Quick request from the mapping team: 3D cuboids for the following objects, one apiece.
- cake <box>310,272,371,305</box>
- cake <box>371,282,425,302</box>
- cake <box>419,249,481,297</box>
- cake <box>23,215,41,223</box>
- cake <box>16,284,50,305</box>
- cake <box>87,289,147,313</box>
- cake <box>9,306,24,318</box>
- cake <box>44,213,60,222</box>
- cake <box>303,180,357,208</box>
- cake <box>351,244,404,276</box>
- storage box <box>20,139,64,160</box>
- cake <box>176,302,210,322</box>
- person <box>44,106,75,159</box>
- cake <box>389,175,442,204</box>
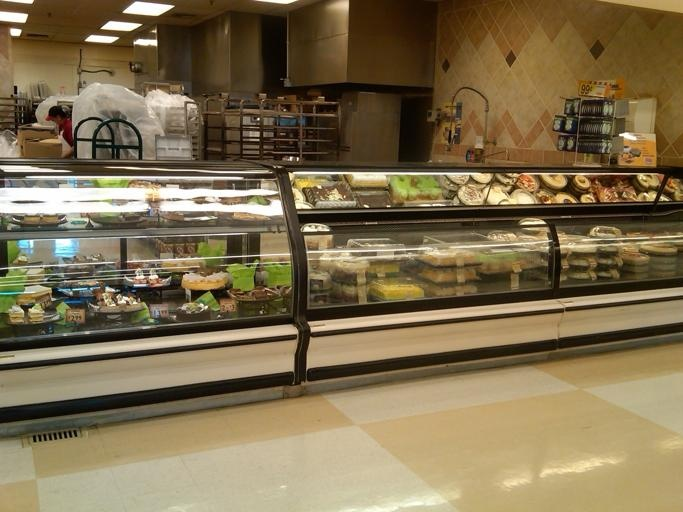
[{"bbox_3d":[0.004,0.196,3.268,0.474,0.233,0.112,-7,11,-25],"label":"cake"},{"bbox_3d":[0.395,0.232,3.413,0.400,0.125,0.125,-5,11,-14],"label":"cake"},{"bbox_3d":[0.808,0.111,3.574,0.440,0.124,0.333,-1,36,-1],"label":"cake"},{"bbox_3d":[-1.758,-0.210,2.795,0.065,0.031,0.057,1,7,-3],"label":"cake"},{"bbox_3d":[-1.751,0.214,2.784,0.161,0.058,0.191,-1,1,-34],"label":"cake"},{"bbox_3d":[-1.350,0.273,2.947,0.248,0.073,0.159,-1,9,-12],"label":"cake"},{"bbox_3d":[-1.781,0.302,2.703,0.076,0.037,0.071,-1,8,-31],"label":"cake"},{"bbox_3d":[-1.676,-0.218,2.851,0.036,0.053,0.093,4,12,35],"label":"cake"},{"bbox_3d":[-0.084,-0.459,3.688,0.359,0.201,0.153,-8,12,-29],"label":"cake"},{"bbox_3d":[0.286,0.013,3.477,0.305,0.143,0.272,0,4,-20],"label":"cake"},{"bbox_3d":[-3.070,-1.107,5.050,0.310,0.196,0.540,-9,12,-32],"label":"storage box"},{"bbox_3d":[-0.913,0.344,3.027,0.134,0.056,0.117,1,3,-1],"label":"cake"},{"bbox_3d":[-3.645,-1.586,6.461,0.398,0.675,0.305,1,42,-21],"label":"person"},{"bbox_3d":[0.614,-0.524,3.898,0.341,0.085,0.278,-4,39,-14],"label":"cake"}]
